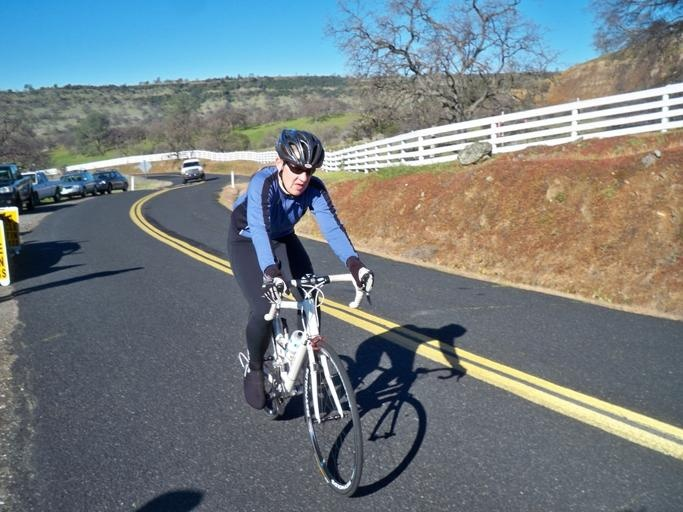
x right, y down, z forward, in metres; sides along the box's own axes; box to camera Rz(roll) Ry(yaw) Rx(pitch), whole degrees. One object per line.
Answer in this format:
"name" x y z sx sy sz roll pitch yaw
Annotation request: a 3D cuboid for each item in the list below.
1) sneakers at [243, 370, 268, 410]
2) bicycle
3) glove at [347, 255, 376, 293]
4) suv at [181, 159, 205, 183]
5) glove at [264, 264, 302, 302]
"sneakers" -0.884 1.317 5.411 0.263 0.279 0.610 4 28 -12
"bicycle" -0.301 1.093 4.792 0.600 1.960 1.502 -7 13 -35
"glove" 0.183 0.164 4.778 0.169 0.151 0.380 18 23 -29
"suv" -12.387 -7.090 43.149 1.456 1.653 3.170 -4 6 -19
"glove" -0.567 0.280 4.717 0.407 0.217 0.228 24 37 38
